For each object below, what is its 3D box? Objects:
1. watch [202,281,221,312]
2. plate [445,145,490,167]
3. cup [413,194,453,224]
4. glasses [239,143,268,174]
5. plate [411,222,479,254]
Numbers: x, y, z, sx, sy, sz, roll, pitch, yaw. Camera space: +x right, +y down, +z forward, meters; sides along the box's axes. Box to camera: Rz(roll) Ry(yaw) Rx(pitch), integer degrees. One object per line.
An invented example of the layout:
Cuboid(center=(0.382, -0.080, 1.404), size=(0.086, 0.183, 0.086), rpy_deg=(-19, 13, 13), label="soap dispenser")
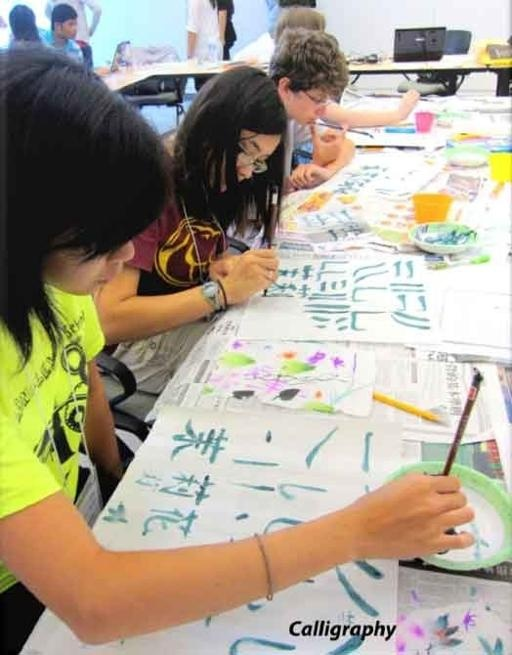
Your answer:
Cuboid(center=(-0.106, -0.077, 1.206), size=(0.044, 0.067, 0.071), rpy_deg=(-11, 0, 2), label="watch")
Cuboid(center=(0.887, -0.721, 2.096), size=(0.136, 0.027, 0.135), rpy_deg=(-28, 47, -30), label="plate")
Cuboid(center=(0.531, -0.362, 1.507), size=(0.115, 0.076, 0.095), rpy_deg=(9, 29, 18), label="cup")
Cuboid(center=(-0.011, -0.419, 1.234), size=(0.058, 0.018, 0.059), rpy_deg=(-3, 52, -52), label="glasses")
Cuboid(center=(0.527, -0.257, 1.415), size=(0.129, 0.038, 0.126), rpy_deg=(2, 40, 10), label="plate")
